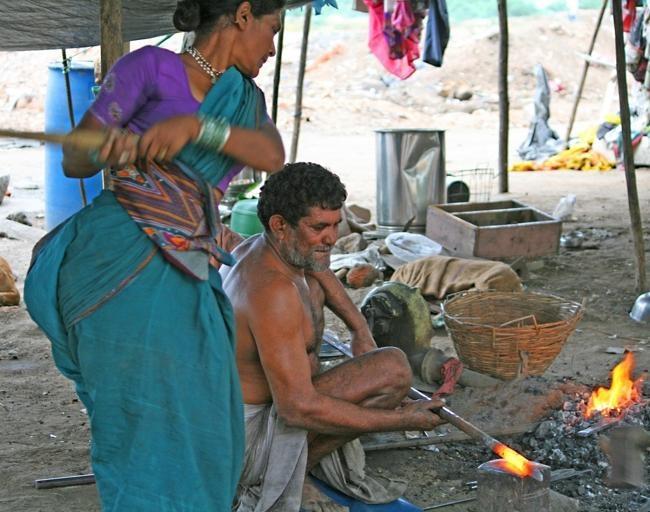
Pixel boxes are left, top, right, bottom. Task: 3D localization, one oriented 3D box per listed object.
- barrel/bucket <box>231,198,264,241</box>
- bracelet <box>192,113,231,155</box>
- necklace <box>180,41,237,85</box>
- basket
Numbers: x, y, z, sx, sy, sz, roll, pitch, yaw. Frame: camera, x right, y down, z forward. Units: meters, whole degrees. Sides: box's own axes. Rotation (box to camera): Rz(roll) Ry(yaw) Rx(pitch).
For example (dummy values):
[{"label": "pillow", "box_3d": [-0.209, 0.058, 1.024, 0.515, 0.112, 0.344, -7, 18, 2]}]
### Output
[{"label": "barrel/bucket", "box_3d": [-0.746, -0.371, 8.652, 0.479, 0.350, 0.433, -1, 14, -7]}, {"label": "bracelet", "box_3d": [-0.427, -0.483, 3.676, 0.157, 0.110, 0.092, 6, 0, 28]}, {"label": "necklace", "box_3d": [-0.475, -0.779, 3.810, 0.042, 0.174, 0.131, -47, 10, 18]}, {"label": "basket", "box_3d": [1.173, 0.461, 5.842, 0.703, 0.373, 0.658, -5, 11, -34]}]
